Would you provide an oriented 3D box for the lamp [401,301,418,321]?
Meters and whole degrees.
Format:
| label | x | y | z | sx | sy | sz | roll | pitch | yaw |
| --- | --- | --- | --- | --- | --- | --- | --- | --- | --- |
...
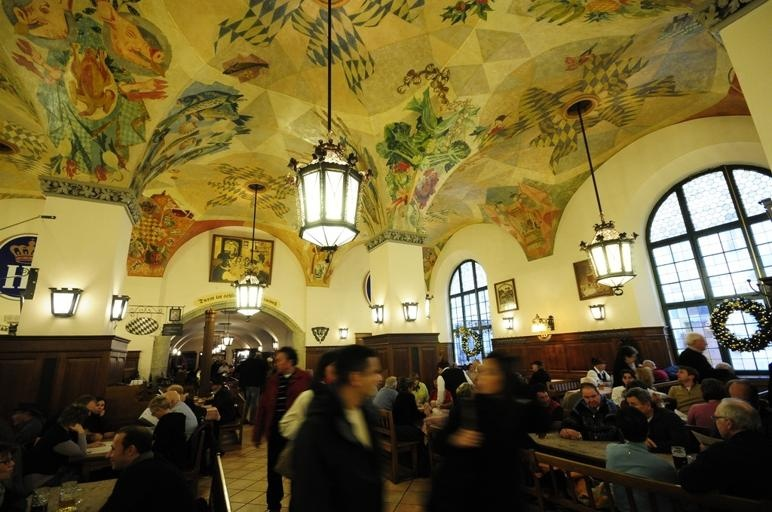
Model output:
| label | x | y | z | sx | sy | sz | roll | pitch | yaw |
| --- | --- | --- | --- | --- | --- | --- | --- | --- | --- |
| lamp | 0.534 | 1.352 | 10.406 | 0.481 | 0.475 | 0.414 | 3 | -14 | -16 |

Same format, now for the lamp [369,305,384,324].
| label | x | y | z | sx | sy | sz | roll | pitch | yaw |
| --- | --- | --- | --- | --- | --- | --- | --- | --- | --- |
| lamp | -0.190 | 1.454 | 10.643 | 0.184 | 0.501 | 0.641 | 1 | -15 | -14 |

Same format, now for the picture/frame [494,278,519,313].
| label | x | y | z | sx | sy | sz | roll | pitch | yaw |
| --- | --- | --- | --- | --- | --- | --- | --- | --- | --- |
| picture/frame | 4.113 | 1.410 | 15.042 | 0.106 | 1.279 | 1.164 | 6 | -11 | -29 |

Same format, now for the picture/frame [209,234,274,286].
| label | x | y | z | sx | sy | sz | roll | pitch | yaw |
| --- | --- | --- | --- | --- | --- | --- | --- | --- | --- |
| picture/frame | -4.848 | 0.186 | 14.548 | 1.898 | 1.418 | 0.129 | 4 | -10 | -23 |

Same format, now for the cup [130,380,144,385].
| label | x | y | z | sx | sy | sz | roll | pitch | yaw |
| --- | --- | --- | --- | --- | --- | --- | --- | --- | --- |
| cup | -6.309 | 3.263 | 11.226 | 0.411 | 0.169 | 0.530 | 4 | -17 | -25 |

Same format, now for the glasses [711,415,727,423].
| label | x | y | z | sx | sy | sz | roll | pitch | yaw |
| --- | --- | --- | --- | --- | --- | --- | --- | --- | --- |
| glasses | 3.972 | 1.973 | 5.292 | 0.044 | 0.068 | 0.164 | 1 | -15 | -16 |

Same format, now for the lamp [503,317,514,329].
| label | x | y | z | sx | sy | sz | roll | pitch | yaw |
| --- | --- | --- | --- | --- | --- | --- | --- | --- | --- |
| lamp | 4.088 | 2.329 | 14.937 | 0.395 | 0.375 | 0.450 | 11 | -15 | -28 |

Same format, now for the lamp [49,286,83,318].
| label | x | y | z | sx | sy | sz | roll | pitch | yaw |
| --- | --- | --- | --- | --- | --- | --- | --- | --- | --- |
| lamp | -5.783 | 0.903 | 8.258 | 0.611 | 0.555 | 0.526 | 4 | -13 | -23 |

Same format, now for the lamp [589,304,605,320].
| label | x | y | z | sx | sy | sz | roll | pitch | yaw |
| --- | --- | --- | --- | --- | --- | --- | --- | --- | --- |
| lamp | 5.919 | 1.623 | 12.378 | 0.428 | 0.394 | 0.413 | -4 | -12 | 26 |

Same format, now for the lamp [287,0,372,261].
| label | x | y | z | sx | sy | sz | roll | pitch | yaw |
| --- | --- | --- | --- | --- | --- | --- | --- | --- | --- |
| lamp | -0.962 | -2.157 | 7.448 | 1.048 | 4.707 | 2.522 | -2 | -16 | -7 |

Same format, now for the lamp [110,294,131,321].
| label | x | y | z | sx | sy | sz | roll | pitch | yaw |
| --- | --- | --- | --- | --- | --- | --- | --- | --- | --- |
| lamp | -5.282 | 1.054 | 8.790 | 0.236 | 0.578 | 0.677 | 4 | -16 | -25 |

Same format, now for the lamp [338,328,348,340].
| label | x | y | z | sx | sy | sz | roll | pitch | yaw |
| --- | --- | --- | --- | --- | --- | --- | --- | --- | --- |
| lamp | -1.552 | 2.909 | 16.321 | 0.493 | 0.473 | 0.392 | 3 | -22 | -8 |

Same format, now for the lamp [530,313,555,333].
| label | x | y | z | sx | sy | sz | roll | pitch | yaw |
| --- | --- | --- | --- | --- | --- | --- | --- | --- | --- |
| lamp | 4.872 | 2.170 | 13.726 | 0.662 | 0.578 | 0.402 | 9 | -19 | -16 |
